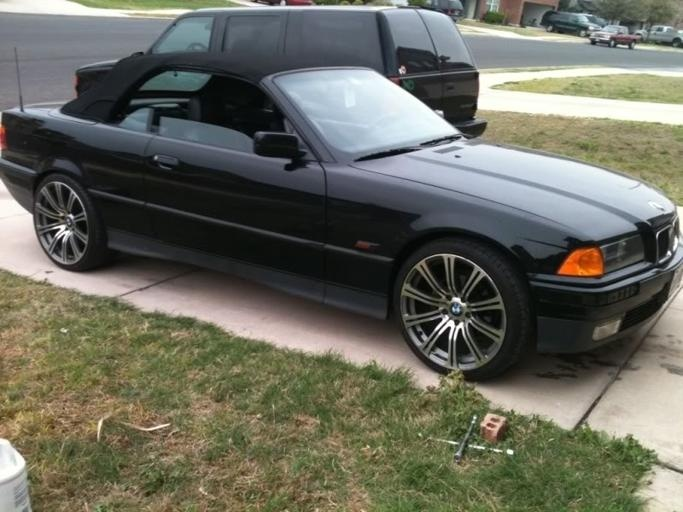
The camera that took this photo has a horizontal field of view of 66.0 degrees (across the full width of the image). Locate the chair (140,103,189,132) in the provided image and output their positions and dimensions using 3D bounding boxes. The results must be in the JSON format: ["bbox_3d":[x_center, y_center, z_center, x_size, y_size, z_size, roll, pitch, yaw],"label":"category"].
[{"bbox_3d":[-1.562,-1.204,4.615,0.307,0.221,0.415,6,13,44],"label":"chair"}]

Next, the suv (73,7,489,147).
[{"bbox_3d":[-1.420,-2.811,8.088,6.223,1.884,2.765,8,16,16],"label":"suv"}]
